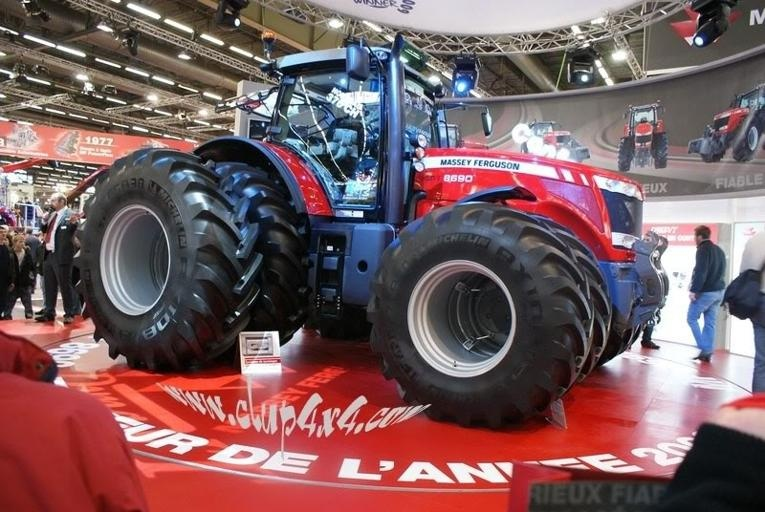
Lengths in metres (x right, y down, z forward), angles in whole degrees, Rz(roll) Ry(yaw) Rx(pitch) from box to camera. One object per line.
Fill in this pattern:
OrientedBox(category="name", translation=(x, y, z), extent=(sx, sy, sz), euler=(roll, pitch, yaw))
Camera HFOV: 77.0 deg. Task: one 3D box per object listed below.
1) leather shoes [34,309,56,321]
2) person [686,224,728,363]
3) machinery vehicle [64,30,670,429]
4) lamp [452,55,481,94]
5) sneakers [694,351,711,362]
OrientedBox(category="leather shoes", translation=(-4.490, 0.784, 6.400), extent=(0.278, 0.161, 0.234), euler=(3, 2, -5))
OrientedBox(category="person", translation=(4.194, 0.475, 6.260), extent=(0.386, 1.743, 0.651), euler=(4, 2, 39))
OrientedBox(category="machinery vehicle", translation=(-0.200, -0.484, 4.926), extent=(4.965, 3.175, 3.339), euler=(6, 4, 32))
OrientedBox(category="lamp", translation=(1.335, -2.846, 7.783), extent=(0.564, 0.824, 0.288), euler=(-1, -19, 7))
OrientedBox(category="sneakers", translation=(4.077, 1.292, 6.117), extent=(0.157, 0.062, 0.118), euler=(0, -30, 21))
